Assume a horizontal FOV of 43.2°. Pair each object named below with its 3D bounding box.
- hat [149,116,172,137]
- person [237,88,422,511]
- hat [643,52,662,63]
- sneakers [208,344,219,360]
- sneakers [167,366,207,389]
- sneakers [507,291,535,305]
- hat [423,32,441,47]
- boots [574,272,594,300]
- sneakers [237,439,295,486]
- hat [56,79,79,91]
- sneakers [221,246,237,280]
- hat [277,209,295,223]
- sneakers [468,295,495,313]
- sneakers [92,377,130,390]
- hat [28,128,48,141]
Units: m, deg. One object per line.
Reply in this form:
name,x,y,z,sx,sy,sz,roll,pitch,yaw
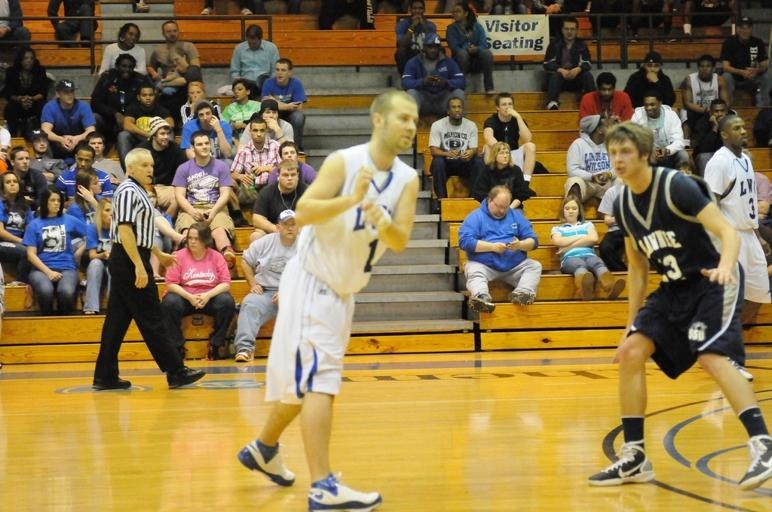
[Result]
hat,-2.894,-1.683,12.542,0.224,0.162,0.308,-26,4,19
person,-0.398,0.338,7.182,1.340,3.063,0.702,-3,11,-9
hat,3.903,-2.922,14.340,0.213,0.155,0.284,4,7,9
sneakers,-1.991,1.115,11.279,0.142,0.185,0.102,-3,11,-11
sneakers,-2.016,1.244,10.096,0.429,0.192,0.167,-12,11,-3
sneakers,1.594,0.505,11.548,0.295,0.129,0.139,12,0,8
hat,0.669,-3.126,14.222,0.189,0.182,0.245,1,-22,8
boots,2.386,0.333,11.799,0.151,0.412,0.291,-3,16,-2
sneakers,-0.904,1.599,7.553,0.522,0.246,0.179,32,-8,-17
hat,-4.468,-2.360,13.605,0.211,0.166,0.295,-2,-7,-34
sneakers,-1.871,0.107,11.840,0.142,0.408,0.177,-6,31,-3
hat,-1.143,-0.458,11.255,0.232,0.125,0.352,-2,-4,-14
sneakers,1.111,0.555,11.377,0.314,0.148,0.183,14,21,9
sneakers,-2.786,1.309,10.019,0.422,0.174,0.139,-2,1,-14
hat,-4.604,-1.598,12.945,0.142,0.197,0.185,-22,13,-40
